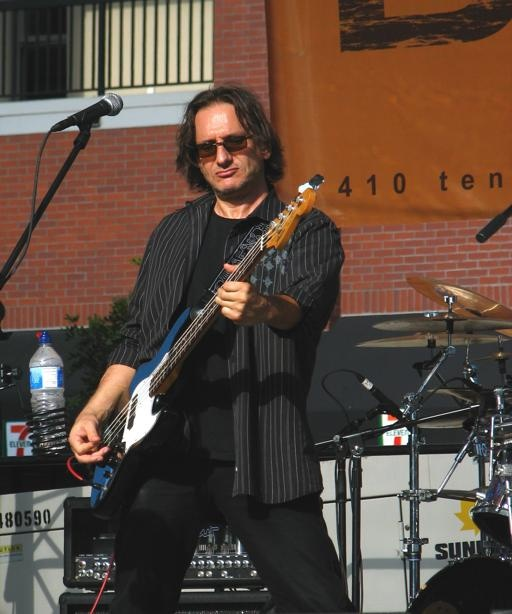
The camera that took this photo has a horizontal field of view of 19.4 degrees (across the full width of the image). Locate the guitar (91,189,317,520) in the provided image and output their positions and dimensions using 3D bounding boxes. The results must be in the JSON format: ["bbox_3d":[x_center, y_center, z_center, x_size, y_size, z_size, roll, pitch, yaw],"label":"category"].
[{"bbox_3d":[-0.262,0.109,6.703,0.992,1.384,1.018,6,11,16],"label":"guitar"}]
